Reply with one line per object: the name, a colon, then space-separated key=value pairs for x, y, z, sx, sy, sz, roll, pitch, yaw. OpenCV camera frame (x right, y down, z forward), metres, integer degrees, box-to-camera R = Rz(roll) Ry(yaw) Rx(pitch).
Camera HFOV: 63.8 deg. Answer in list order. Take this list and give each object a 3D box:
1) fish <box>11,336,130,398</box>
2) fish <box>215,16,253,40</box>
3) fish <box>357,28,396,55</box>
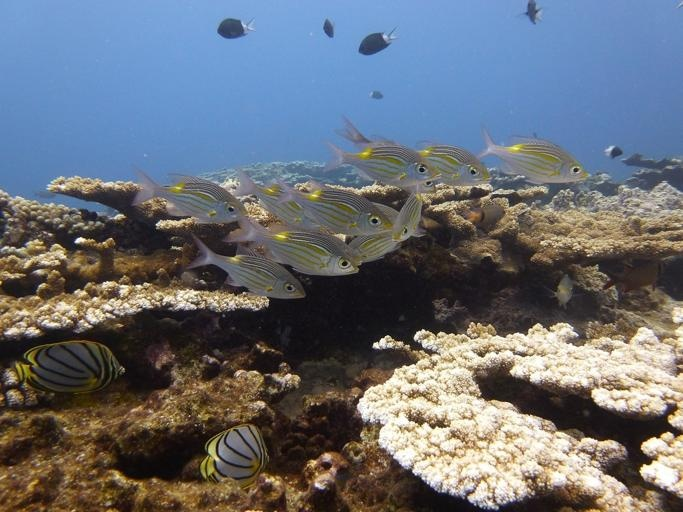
fish: x=-3.247 y=1.327 z=6.471 sx=0.924 sy=0.543 sz=0.184 roll=1 pitch=-3 yaw=-12
fish: x=-2.106 y=-4.452 z=10.765 sx=0.583 sy=0.363 sz=0.390 roll=12 pitch=30 yaw=32
fish: x=0.688 y=-4.166 z=10.795 sx=0.537 sy=0.390 sz=0.908 roll=-8 pitch=25 yaw=-7
